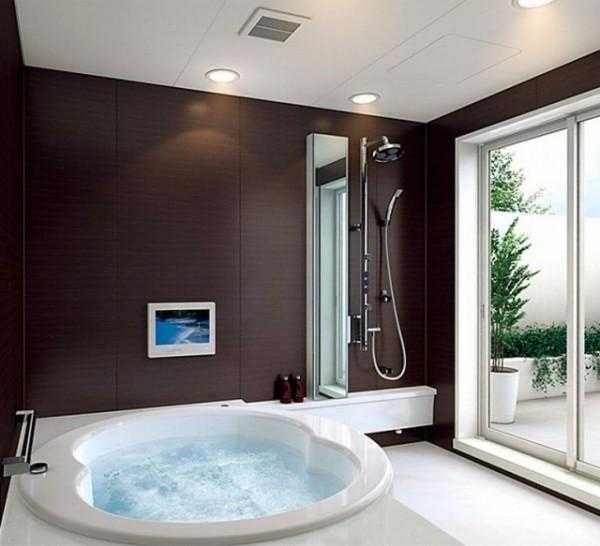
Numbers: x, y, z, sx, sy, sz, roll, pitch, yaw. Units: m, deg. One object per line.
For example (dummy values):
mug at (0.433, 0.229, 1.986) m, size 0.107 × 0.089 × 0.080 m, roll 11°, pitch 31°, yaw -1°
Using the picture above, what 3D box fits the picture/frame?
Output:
picture/frame at (-0.821, 0.384, 3.105) m, size 0.415 × 0.329 × 0.039 m, roll 1°, pitch -4°, yaw -21°

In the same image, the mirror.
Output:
mirror at (0.201, 0.037, 3.488) m, size 0.086 × 1.718 × 0.330 m, roll -11°, pitch -21°, yaw 33°

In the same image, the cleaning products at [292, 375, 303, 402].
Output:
cleaning products at (-0.015, 0.846, 3.373) m, size 0.083 × 0.165 × 0.198 m, roll 0°, pitch -2°, yaw 0°

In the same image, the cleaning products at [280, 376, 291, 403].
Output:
cleaning products at (-0.103, 0.845, 3.338) m, size 0.074 × 0.176 × 0.148 m, roll 0°, pitch -2°, yaw -2°
